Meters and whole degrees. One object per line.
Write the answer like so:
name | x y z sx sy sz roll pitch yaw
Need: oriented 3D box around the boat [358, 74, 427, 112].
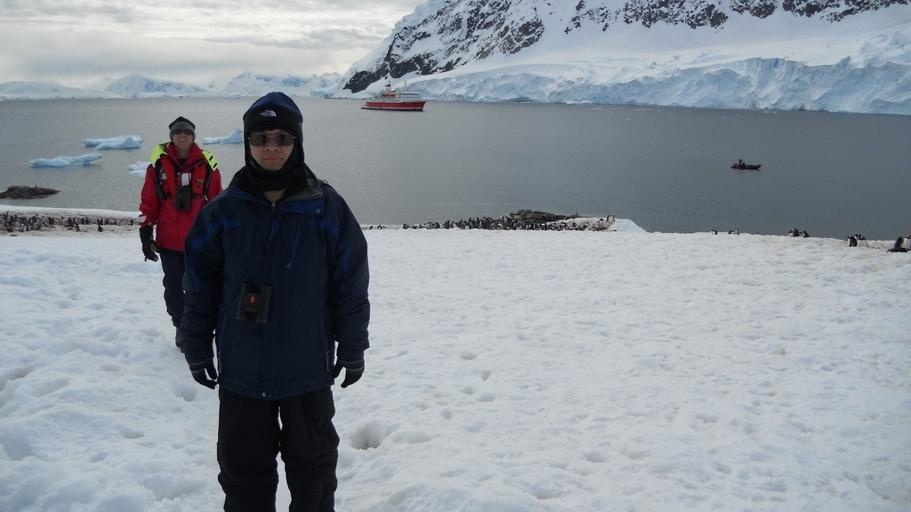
boat | -10.255 -27.575 124.055 14.830 4.810 4.457 14 21 43

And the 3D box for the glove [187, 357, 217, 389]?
glove | -5.562 2.720 16.198 0.630 0.711 0.267 8 42 6

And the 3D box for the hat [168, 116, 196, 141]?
hat | -6.905 -3.258 18.517 0.606 0.381 0.664 -1 -1 -19

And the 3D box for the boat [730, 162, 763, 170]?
boat | 24.456 -7.539 61.415 2.125 0.647 1.331 2 7 24

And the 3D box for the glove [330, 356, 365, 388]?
glove | -2.350 2.615 16.407 0.650 0.700 0.326 5 14 1
